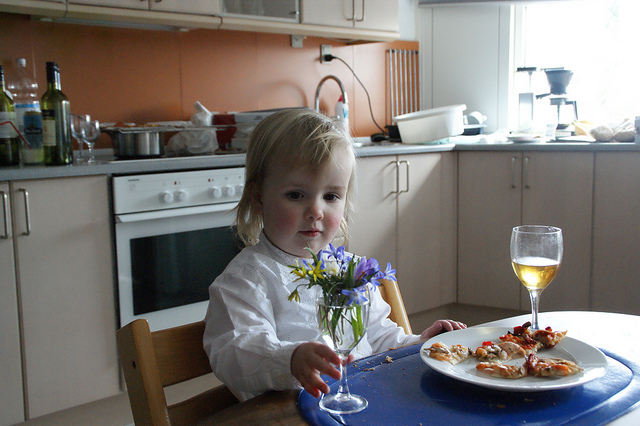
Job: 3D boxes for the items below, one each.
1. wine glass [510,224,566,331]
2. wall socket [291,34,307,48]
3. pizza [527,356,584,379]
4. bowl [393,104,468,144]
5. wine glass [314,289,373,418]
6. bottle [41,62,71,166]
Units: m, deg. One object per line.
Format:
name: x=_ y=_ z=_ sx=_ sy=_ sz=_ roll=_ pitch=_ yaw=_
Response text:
wine glass: x=0.529 y=0.163 z=1.197 sx=0.171 sy=0.261 sz=0.112 roll=-13 pitch=14 yaw=-40
wall socket: x=-0.122 y=-1.151 z=3.290 sx=0.142 sy=0.075 sz=0.062 roll=-15 pitch=15 yaw=-43
pizza: x=0.475 y=0.310 z=1.009 sx=0.054 sy=0.012 sz=0.053 roll=0 pitch=3 yaw=-13
bowl: x=0.745 y=-0.521 z=3.190 sx=0.325 sy=0.135 sz=0.298 roll=-25 pitch=4 yaw=2
wine glass: x=0.048 y=0.268 z=0.967 sx=0.104 sy=0.234 sz=0.094 roll=-3 pitch=11 yaw=4
bottle: x=-1.182 y=-0.437 z=2.170 sx=0.107 sy=0.443 sz=0.086 roll=-5 pitch=11 yaw=-4
